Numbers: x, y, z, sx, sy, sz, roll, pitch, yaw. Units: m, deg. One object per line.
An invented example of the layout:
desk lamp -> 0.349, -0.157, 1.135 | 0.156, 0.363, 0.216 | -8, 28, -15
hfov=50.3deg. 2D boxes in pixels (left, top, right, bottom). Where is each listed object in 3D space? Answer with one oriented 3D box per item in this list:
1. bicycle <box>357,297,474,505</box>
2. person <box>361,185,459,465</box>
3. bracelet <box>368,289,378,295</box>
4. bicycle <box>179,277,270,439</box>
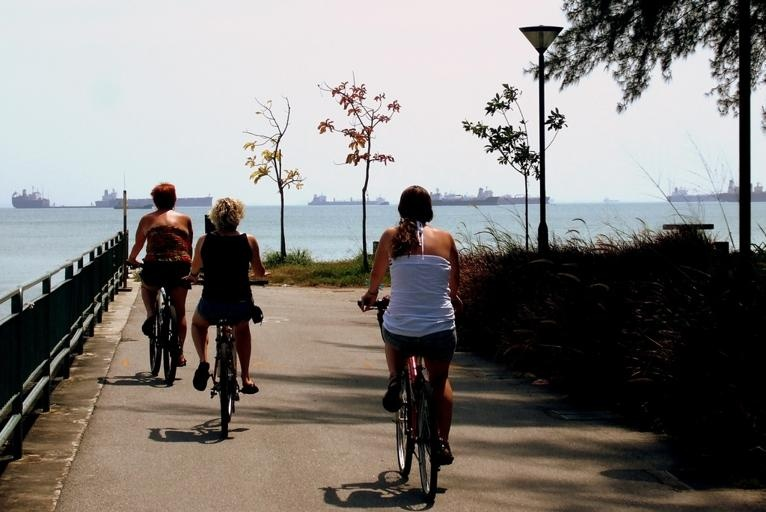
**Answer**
bicycle -> 0.296, 1.584, 8.108 | 0.798, 1.110, 1.747 | -2, 1, -6
person -> 0.279, 0.518, 7.662 | 0.779, 2.313, 0.487 | 0, 7, 0
bracelet -> -0.091, 0.349, 7.795 | 0.057, 0.031, 0.079 | -2, 3, -34
bicycle -> -1.778, 1.327, 9.232 | 0.814, 1.101, 1.716 | 1, 3, -7
